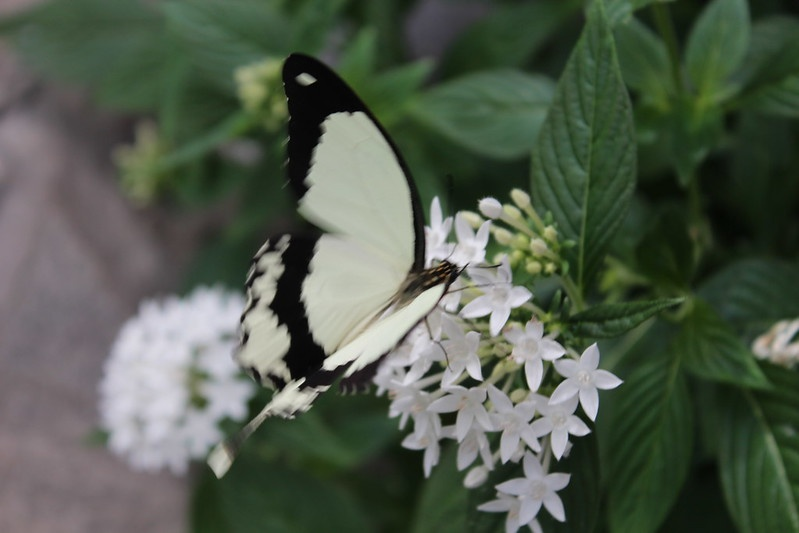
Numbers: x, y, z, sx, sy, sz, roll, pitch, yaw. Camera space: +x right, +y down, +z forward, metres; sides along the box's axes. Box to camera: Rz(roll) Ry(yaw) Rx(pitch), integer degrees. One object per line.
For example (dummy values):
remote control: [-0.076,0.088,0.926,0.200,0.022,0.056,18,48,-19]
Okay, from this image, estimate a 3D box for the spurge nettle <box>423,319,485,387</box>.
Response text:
spurge nettle: [0.181,0.264,2.876,0.112,0.202,0.148,-3,23,-5]

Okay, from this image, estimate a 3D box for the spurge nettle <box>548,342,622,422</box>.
spurge nettle: [0.571,0.345,2.858,0.210,0.236,0.062,37,6,0]
